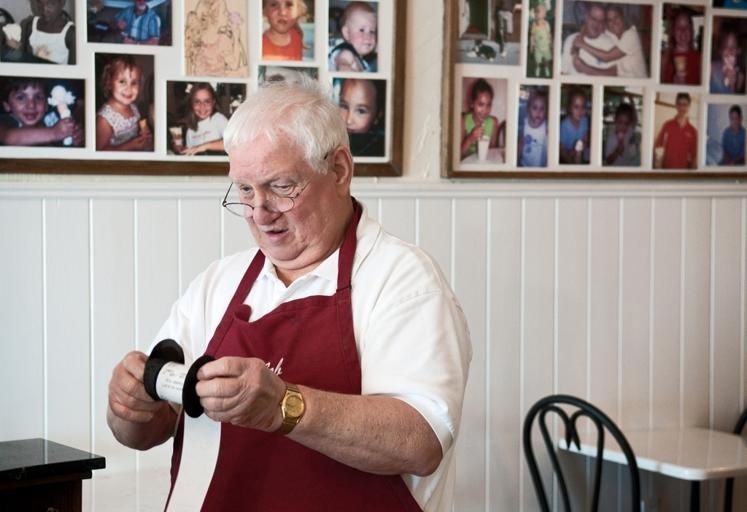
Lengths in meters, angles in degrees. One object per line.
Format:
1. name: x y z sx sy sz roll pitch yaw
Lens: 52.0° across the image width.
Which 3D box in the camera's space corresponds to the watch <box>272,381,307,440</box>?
1. watch: -0.203 0.362 1.882 0.065 0.112 0.109 15 -29 -21
